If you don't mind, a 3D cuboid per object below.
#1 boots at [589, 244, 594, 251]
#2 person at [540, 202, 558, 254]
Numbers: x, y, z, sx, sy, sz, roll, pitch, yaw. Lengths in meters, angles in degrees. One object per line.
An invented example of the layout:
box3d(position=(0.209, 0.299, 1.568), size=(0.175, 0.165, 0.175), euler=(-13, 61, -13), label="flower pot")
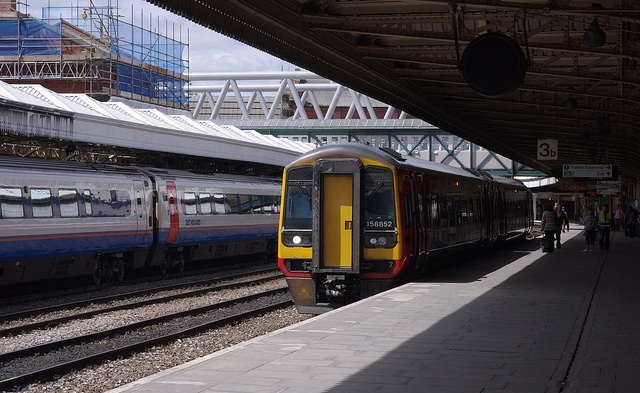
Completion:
box3d(position=(14.494, 2.711, 27.654), size=(0.236, 0.308, 0.787), euler=(-4, -13, 23), label="boots")
box3d(position=(11.506, 1.578, 26.092), size=(0.660, 2.362, 1.271), euler=(-3, -2, 22), label="person")
